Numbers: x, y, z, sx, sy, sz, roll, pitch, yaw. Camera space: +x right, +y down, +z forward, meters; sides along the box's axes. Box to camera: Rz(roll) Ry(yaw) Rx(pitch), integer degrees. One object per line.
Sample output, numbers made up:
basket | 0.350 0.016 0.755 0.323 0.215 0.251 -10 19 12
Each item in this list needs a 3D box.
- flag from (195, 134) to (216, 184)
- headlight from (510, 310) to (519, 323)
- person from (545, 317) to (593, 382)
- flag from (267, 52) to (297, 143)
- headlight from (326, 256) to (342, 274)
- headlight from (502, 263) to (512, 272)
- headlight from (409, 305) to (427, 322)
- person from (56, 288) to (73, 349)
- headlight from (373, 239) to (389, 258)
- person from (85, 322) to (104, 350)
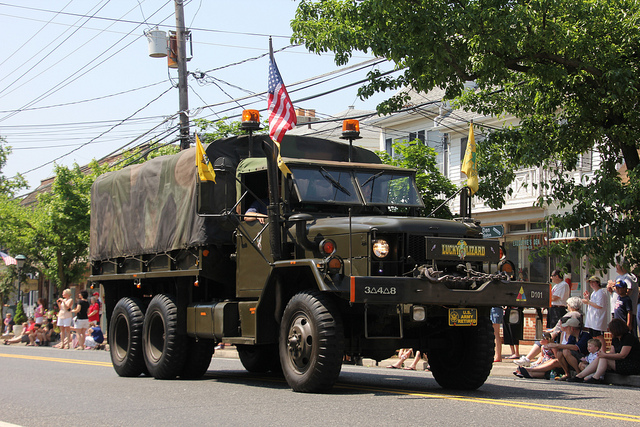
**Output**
flag | -2.439 -1.120 17.975 0.411 1.282 0.180 4 -41 -21
headlight | 3.874 2.054 17.216 0.174 0.258 0.358 -1 -3 12
person | 5.689 3.102 19.740 1.095 1.486 0.745 1 -9 -19
flag | -0.841 -2.542 18.812 0.587 2.205 1.907 -1 -3 -3
headlight | 0.265 0.961 16.030 0.244 0.318 0.102 5 1 -22
headlight | 3.668 1.052 16.753 0.245 0.172 0.221 0 -3 -17
headlight | 1.765 1.829 15.866 0.356 0.344 0.261 2 -6 -17
person | -9.817 4.007 33.048 0.736 2.234 0.648 -3 -6 35
headlight | 1.120 0.654 16.117 0.337 0.339 0.111 2 -6 -18
person | -8.484 4.532 32.234 0.721 0.924 0.726 -1 1 44
